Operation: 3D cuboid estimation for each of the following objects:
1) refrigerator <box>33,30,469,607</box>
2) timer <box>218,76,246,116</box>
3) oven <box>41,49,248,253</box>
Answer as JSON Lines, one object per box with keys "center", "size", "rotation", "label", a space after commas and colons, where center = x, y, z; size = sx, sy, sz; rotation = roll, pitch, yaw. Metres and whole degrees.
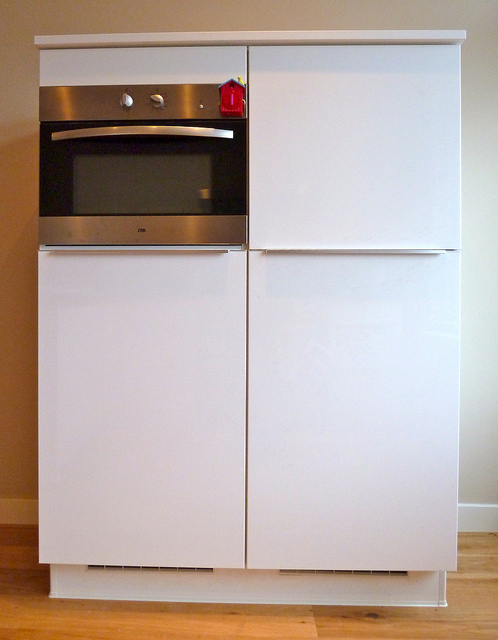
{"center": [-0.018, 0.096, 2.447], "size": [1.280, 1.928, 0.657], "rotation": [-1, -26, -3], "label": "refrigerator"}
{"center": [-0.049, -0.645, 2.103], "size": [0.073, 0.118, 0.033], "rotation": [0, -2, 1], "label": "timer"}
{"center": [-0.274, -0.494, 2.375], "size": [0.671, 0.750, 0.511], "rotation": [0, 2, 4], "label": "oven"}
